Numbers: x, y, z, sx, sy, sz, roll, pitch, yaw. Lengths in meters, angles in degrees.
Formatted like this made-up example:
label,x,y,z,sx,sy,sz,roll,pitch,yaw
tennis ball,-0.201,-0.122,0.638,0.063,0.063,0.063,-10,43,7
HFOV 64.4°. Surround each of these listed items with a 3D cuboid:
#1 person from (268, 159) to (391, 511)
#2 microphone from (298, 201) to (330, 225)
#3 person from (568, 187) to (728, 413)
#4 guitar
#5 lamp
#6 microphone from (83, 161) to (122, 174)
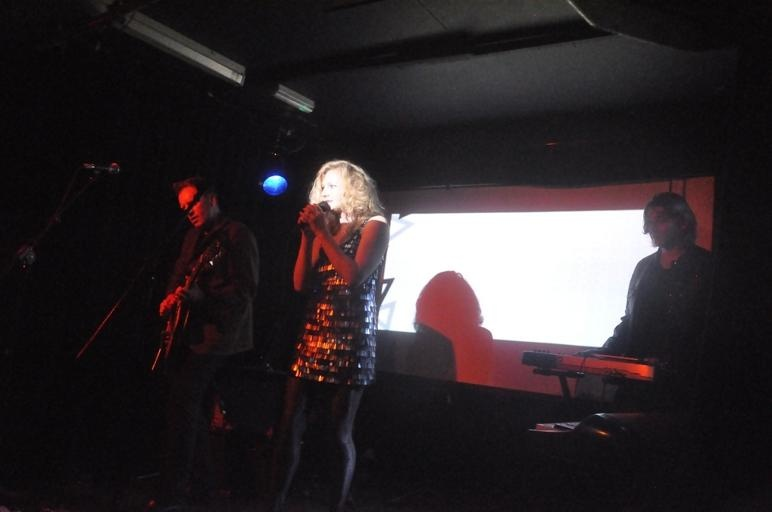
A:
label,x,y,z,sx,sy,sz,roll,pitch,yaw
person,-0.346,0.467,3.900,0.620,2.237,0.453,8,-15,-2
microphone,-0.458,-0.291,3.950,0.245,0.098,0.105,-19,31,-35
person,1.965,0.293,4.380,0.684,1.532,0.197,0,-17,27
guitar,-1.437,0.345,4.357,0.346,0.909,0.123,-1,-17,28
lamp,-1.410,-1.538,4.792,1.440,0.203,0.151,27,12,-36
microphone,-2.138,-0.657,4.615,0.242,0.094,0.094,4,8,-12
